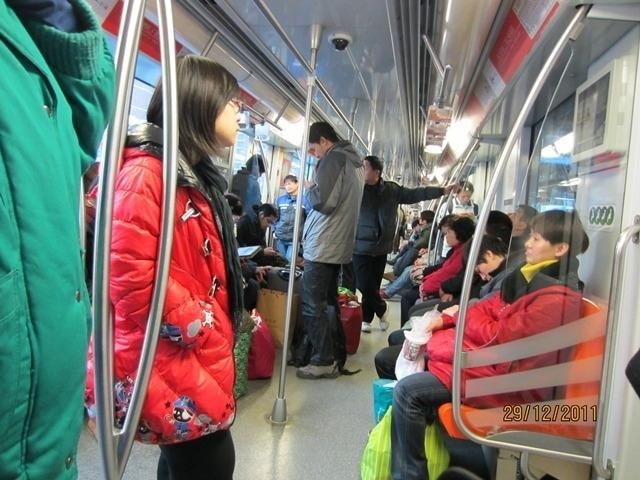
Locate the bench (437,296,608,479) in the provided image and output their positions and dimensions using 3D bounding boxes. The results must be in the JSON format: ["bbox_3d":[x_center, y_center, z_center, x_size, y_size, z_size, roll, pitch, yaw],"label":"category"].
[{"bbox_3d":[0.732,0.543,1.867,0.536,0.673,0.639,7,-33,1],"label":"bench"}]

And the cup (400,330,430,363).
[{"bbox_3d":[0.490,0.543,2.397,0.130,0.147,0.138,12,28,-7],"label":"cup"}]

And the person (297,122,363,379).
[{"bbox_3d":[0.080,0.068,3.664,0.537,2.007,0.513,3,7,-37],"label":"person"}]

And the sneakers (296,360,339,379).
[{"bbox_3d":[-0.016,1.048,3.619,0.323,0.165,0.132,8,-3,-15],"label":"sneakers"}]

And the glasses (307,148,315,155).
[{"bbox_3d":[-0.071,-0.735,3.769,0.035,0.056,0.047,-9,4,-10],"label":"glasses"}]

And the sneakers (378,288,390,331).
[{"bbox_3d":[0.669,0.800,5.004,0.117,0.399,0.157,3,12,29],"label":"sneakers"}]
